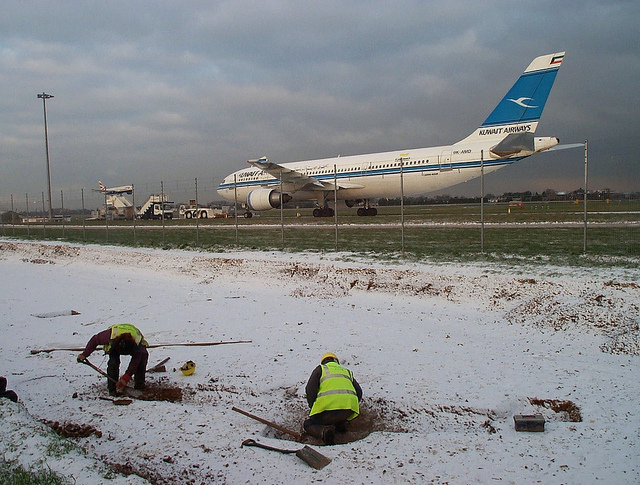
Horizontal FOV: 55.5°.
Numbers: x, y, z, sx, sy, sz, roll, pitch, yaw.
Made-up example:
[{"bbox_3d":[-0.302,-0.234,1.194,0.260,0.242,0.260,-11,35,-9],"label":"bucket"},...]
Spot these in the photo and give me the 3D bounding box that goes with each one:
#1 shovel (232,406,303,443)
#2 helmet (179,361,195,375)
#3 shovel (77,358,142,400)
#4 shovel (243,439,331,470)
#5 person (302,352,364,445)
[{"bbox_3d":[-0.806,2.820,9.290,1.097,0.067,0.387,22,15,11],"label":"shovel"},{"bbox_3d":[-2.366,2.293,10.834,0.231,0.173,0.181,-4,2,13],"label":"helmet"},{"bbox_3d":[-3.558,2.368,10.277,0.819,0.269,0.122,35,31,7],"label":"shovel"},{"bbox_3d":[-0.469,3.051,8.722,1.249,0.157,0.452,14,11,18],"label":"shovel"},{"bbox_3d":[0.186,2.496,9.378,0.786,1.591,0.860,9,-36,-10],"label":"person"}]
